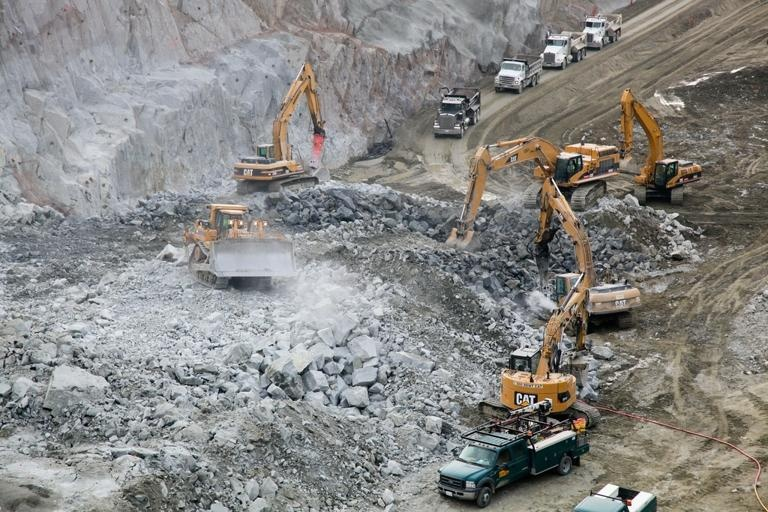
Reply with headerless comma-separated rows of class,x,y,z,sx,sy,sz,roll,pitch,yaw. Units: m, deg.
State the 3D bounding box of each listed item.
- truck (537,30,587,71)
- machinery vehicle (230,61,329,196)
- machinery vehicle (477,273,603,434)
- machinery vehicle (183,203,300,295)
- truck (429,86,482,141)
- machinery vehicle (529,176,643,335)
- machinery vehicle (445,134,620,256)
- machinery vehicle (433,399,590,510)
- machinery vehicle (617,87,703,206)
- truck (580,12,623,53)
truck,13.086,-14.873,58.706,1.923,2.208,4.297,14,26,41
machinery vehicle,-3.277,-6.754,43.247,3.965,7.833,10.615,2,-13,4
machinery vehicle,4.983,2.837,27.396,3.329,5.575,5.721,6,-1,-21
machinery vehicle,-5.748,-0.166,33.116,3.175,3.674,8.715,2,-2,-11
truck,5.074,-9.501,53.121,2.068,2.230,4.605,4,20,18
machinery vehicle,8.416,0.173,34.082,4.642,4.489,8.562,-6,14,-32
machinery vehicle,6.574,-2.921,35.422,8.464,4.616,2.314,-13,21,-29
machinery vehicle,3.918,5.992,24.598,5.026,2.102,2.169,-16,17,-37
machinery vehicle,13.806,-5.587,40.761,4.689,6.052,1.618,-9,19,-14
truck,16.530,-16.940,60.908,1.939,1.725,3.943,5,24,31
